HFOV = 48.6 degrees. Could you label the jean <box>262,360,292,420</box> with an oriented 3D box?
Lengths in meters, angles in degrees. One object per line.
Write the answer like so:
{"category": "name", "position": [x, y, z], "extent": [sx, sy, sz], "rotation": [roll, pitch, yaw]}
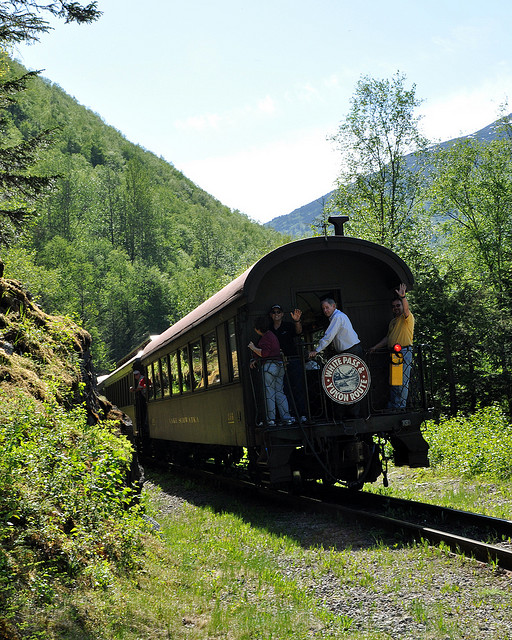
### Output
{"category": "jean", "position": [0.260, 0.896, 7.290], "extent": [0.361, 0.761, 0.234], "rotation": [2, -11, -36]}

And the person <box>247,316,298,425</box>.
{"category": "person", "position": [0.214, 0.648, 7.339], "extent": [0.534, 1.398, 0.405], "rotation": [-1, -9, -23]}

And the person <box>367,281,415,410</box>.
{"category": "person", "position": [1.886, 0.327, 7.940], "extent": [0.640, 1.824, 0.820], "rotation": [-12, -11, 40]}

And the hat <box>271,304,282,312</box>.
{"category": "hat", "position": [0.255, -0.173, 7.586], "extent": [0.103, 0.067, 0.160], "rotation": [-2, -10, 5]}

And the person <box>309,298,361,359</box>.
{"category": "person", "position": [0.950, 0.100, 7.144], "extent": [0.333, 0.746, 0.864], "rotation": [-11, -10, 35]}
